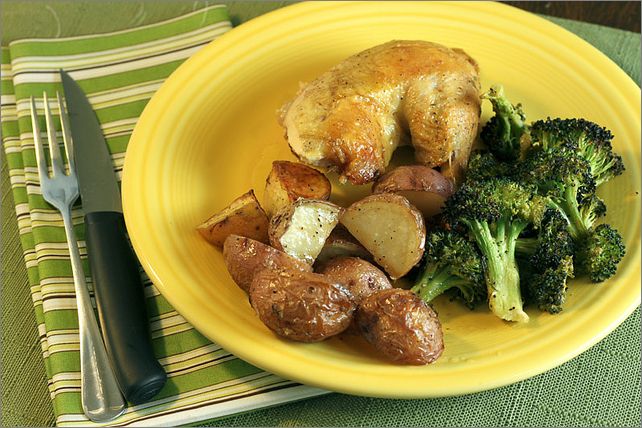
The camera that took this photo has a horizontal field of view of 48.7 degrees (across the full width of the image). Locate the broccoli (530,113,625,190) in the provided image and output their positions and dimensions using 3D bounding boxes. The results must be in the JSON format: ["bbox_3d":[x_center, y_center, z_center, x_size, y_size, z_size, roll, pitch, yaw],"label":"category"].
[{"bbox_3d":[1.330,-0.338,3.607,0.388,0.225,0.332,48,43,8],"label":"broccoli"}]

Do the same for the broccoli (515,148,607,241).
[{"bbox_3d":[1.187,-0.117,3.510,0.240,0.352,0.484,-12,95,-32],"label":"broccoli"}]

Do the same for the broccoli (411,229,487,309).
[{"bbox_3d":[0.620,0.255,3.390,0.260,0.217,0.196,-49,36,-6],"label":"broccoli"}]

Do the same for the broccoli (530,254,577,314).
[{"bbox_3d":[1.081,0.345,3.297,0.191,0.103,0.259,-12,68,24],"label":"broccoli"}]

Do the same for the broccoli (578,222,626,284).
[{"bbox_3d":[1.312,0.190,3.332,0.120,0.203,0.265,37,71,-30],"label":"broccoli"}]

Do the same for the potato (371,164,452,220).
[{"bbox_3d":[0.474,-0.142,3.520,0.289,0.174,0.292,-19,33,-19],"label":"potato"}]

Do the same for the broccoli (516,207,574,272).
[{"bbox_3d":[1.096,0.160,3.419,0.242,0.156,0.298,44,100,25],"label":"broccoli"}]

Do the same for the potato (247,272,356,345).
[{"bbox_3d":[-0.084,0.410,3.173,0.480,0.121,0.289,8,77,4],"label":"potato"}]
